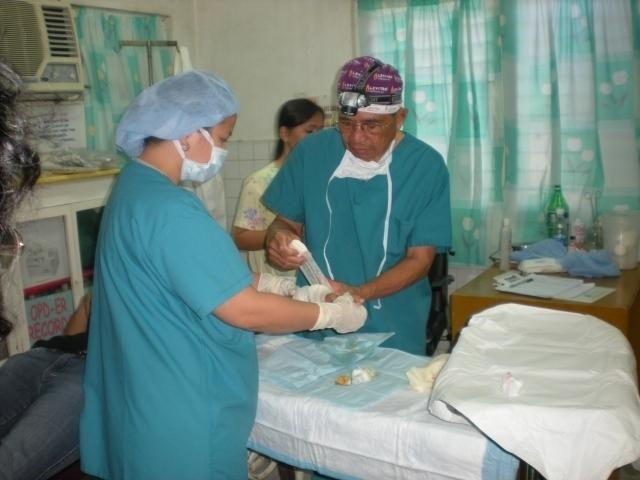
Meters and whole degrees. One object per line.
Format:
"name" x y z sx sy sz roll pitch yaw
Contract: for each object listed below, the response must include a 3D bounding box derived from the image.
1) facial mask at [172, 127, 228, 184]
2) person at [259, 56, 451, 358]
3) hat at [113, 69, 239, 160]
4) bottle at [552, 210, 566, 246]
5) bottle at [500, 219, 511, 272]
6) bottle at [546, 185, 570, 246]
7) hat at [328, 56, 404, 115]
"facial mask" -0.395 -0.243 1.736 0.141 0.146 0.089 -32 -14 -30
"person" 0.165 -0.024 2.384 0.787 1.456 0.826 4 34 13
"hat" -0.435 -0.428 1.733 0.339 0.111 0.326 -10 1 -26
"bottle" 1.486 -0.080 3.338 0.083 0.216 0.186 1 9 23
"bottle" 1.091 0.030 3.189 0.054 0.304 0.091 0 8 18
"bottle" 1.508 -0.124 3.424 0.131 0.444 0.140 1 -4 0
"hat" 0.208 -0.622 2.175 0.254 0.217 0.268 21 23 39
